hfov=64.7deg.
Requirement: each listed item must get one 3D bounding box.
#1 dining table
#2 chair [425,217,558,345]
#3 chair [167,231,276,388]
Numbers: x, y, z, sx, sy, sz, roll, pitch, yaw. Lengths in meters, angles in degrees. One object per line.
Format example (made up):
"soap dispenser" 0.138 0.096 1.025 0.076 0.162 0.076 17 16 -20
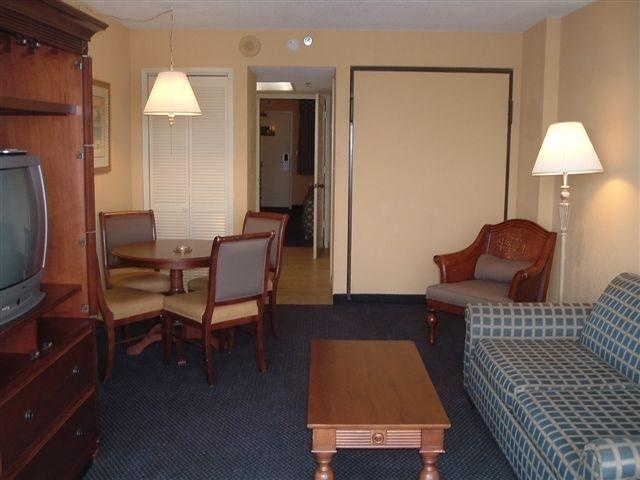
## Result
"dining table" -1.166 0.446 4.028 0.744 0.668 0.729 -1 -1 -38
"chair" 1.338 0.238 4.701 1.040 1.446 1.166 0 4 -40
"chair" -0.733 0.459 3.714 0.651 1.065 0.588 8 9 37
